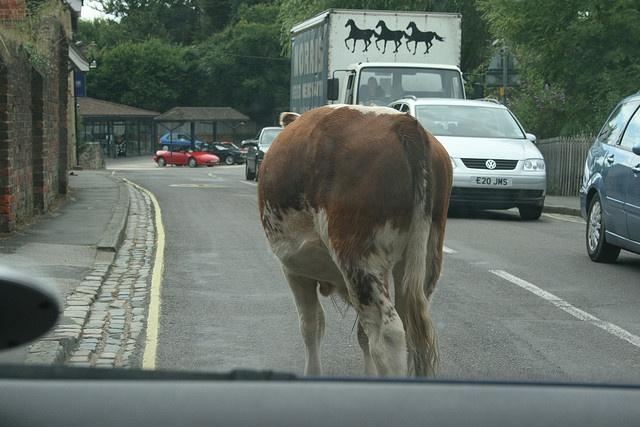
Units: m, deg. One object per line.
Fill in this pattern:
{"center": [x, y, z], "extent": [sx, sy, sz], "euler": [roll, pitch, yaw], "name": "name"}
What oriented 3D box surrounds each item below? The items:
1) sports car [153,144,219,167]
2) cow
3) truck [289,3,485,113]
{"center": [-7.566, -3.196, 49.051], "extent": [3.213, 0.987, 2.189], "euler": [0, 5, -18], "name": "sports car"}
{"center": [0.277, 0.174, 6.734], "extent": [1.333, 2.031, 0.929], "euler": [2, 4, 15], "name": "cow"}
{"center": [1.265, -4.258, 23.110], "extent": [2.662, 2.289, 4.336], "euler": [0, 6, -12], "name": "truck"}
